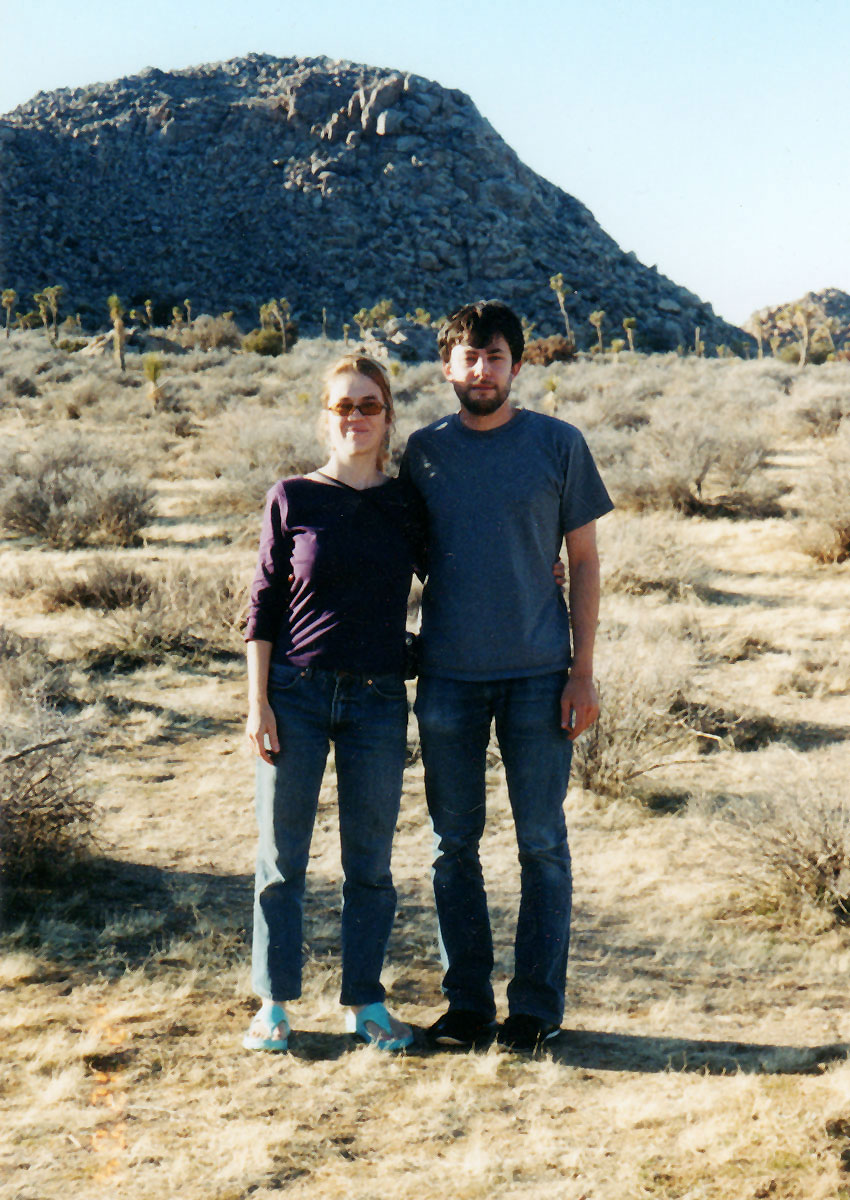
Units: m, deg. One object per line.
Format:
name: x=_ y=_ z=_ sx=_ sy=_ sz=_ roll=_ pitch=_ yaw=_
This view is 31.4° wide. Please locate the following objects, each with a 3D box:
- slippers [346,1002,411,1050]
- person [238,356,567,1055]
slippers: x=-0.148 y=1.301 z=4.659 sx=0.108 sy=0.082 sz=0.189 roll=-4 pitch=-2 yaw=-33
person: x=-0.291 y=0.310 z=4.630 sx=0.507 sy=2.042 sz=0.652 roll=0 pitch=14 yaw=-2
